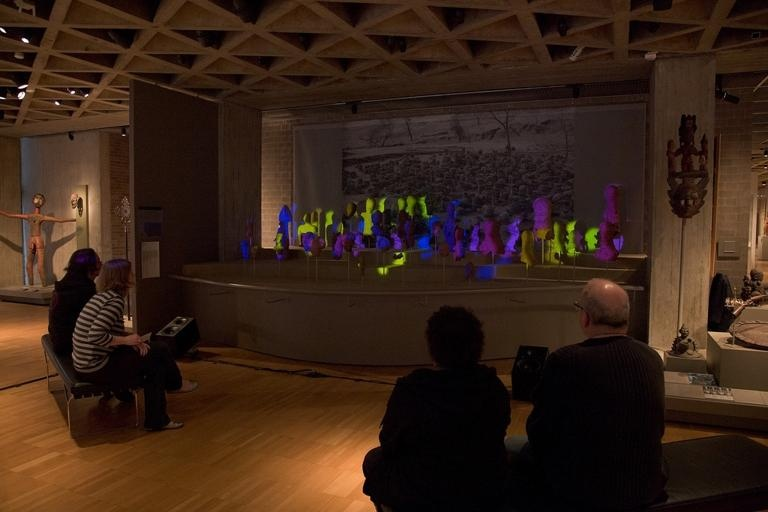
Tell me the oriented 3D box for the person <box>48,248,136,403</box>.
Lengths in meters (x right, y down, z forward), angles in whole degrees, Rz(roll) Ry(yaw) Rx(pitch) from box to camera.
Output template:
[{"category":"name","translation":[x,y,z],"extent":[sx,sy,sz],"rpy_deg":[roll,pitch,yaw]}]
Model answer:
[{"category":"person","translation":[-3.228,0.807,6.463],"extent":[1.091,1.897,0.819],"rpy_deg":[3,27,-27]}]

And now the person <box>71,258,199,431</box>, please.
[{"category":"person","translation":[-2.634,0.933,5.726],"extent":[0.971,1.781,0.361],"rpy_deg":[-4,4,-28]}]

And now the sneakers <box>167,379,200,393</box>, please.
[{"category":"sneakers","translation":[-2.280,1.511,6.464],"extent":[0.416,0.170,0.151],"rpy_deg":[-2,9,-20]}]

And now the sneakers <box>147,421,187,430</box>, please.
[{"category":"sneakers","translation":[-2.284,1.778,5.845],"extent":[0.339,0.097,0.121],"rpy_deg":[0,1,-17]}]

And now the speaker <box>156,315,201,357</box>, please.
[{"category":"speaker","translation":[-2.759,1.095,7.512],"extent":[0.266,0.316,0.471],"rpy_deg":[0,10,13]}]
